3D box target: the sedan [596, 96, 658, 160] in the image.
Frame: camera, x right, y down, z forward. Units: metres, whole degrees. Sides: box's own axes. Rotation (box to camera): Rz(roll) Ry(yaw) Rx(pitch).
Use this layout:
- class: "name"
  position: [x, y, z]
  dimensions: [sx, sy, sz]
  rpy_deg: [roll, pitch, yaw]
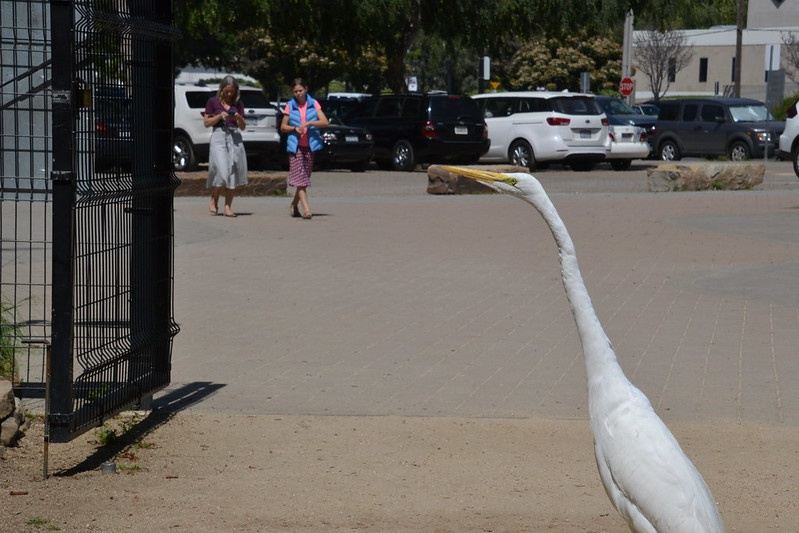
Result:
- class: "sedan"
  position: [5.875, -3.523, 31.093]
  dimensions: [1.405, 1.293, 3.327]
  rpy_deg: [0, 11, 1]

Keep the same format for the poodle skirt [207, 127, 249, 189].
- class: "poodle skirt"
  position: [-2.526, -1.617, 17.895]
  dimensions: [0.571, 0.995, 0.455]
  rpy_deg: [-4, 13, -18]

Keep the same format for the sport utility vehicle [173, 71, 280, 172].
- class: "sport utility vehicle"
  position: [-3.668, -2.672, 25.546]
  dimensions: [2.094, 1.840, 3.800]
  rpy_deg: [-3, 16, -22]

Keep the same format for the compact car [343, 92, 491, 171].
- class: "compact car"
  position: [0.331, -3.311, 29.560]
  dimensions: [1.664, 1.351, 3.401]
  rpy_deg: [-4, 12, -34]

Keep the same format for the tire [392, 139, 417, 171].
- class: "tire"
  position: [0.156, -2.748, 29.110]
  dimensions: [0.232, 0.723, 0.643]
  rpy_deg: [-6, 7, -38]

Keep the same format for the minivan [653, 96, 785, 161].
- class: "minivan"
  position: [8.808, -3.825, 33.432]
  dimensions: [2.998, 1.553, 1.849]
  rpy_deg: [2, 6, 43]

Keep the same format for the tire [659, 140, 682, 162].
- class: "tire"
  position: [7.676, -3.328, 34.255]
  dimensions: [0.295, 0.916, 0.827]
  rpy_deg: [-1, 2, -26]

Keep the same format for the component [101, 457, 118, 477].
- class: "component"
  position: [-2.126, 1.500, 8.913]
  dimensions: [0.108, 0.071, 0.115]
  rpy_deg: [-4, 14, -15]

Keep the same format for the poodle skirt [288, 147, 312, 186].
- class: "poodle skirt"
  position: [-1.468, -1.523, 18.074]
  dimensions: [0.392, 0.580, 0.329]
  rpy_deg: [8, 19, 10]

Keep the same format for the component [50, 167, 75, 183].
- class: "component"
  position: [-2.379, -0.655, 8.604]
  dimensions: [0.162, 0.092, 0.040]
  rpy_deg: [-1, 12, -3]

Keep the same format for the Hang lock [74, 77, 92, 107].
- class: "Hang lock"
  position: [-2.250, -1.262, 8.674]
  dimensions: [0.117, 0.215, 0.081]
  rpy_deg: [-6, 13, -24]

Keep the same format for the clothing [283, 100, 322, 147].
- class: "clothing"
  position: [-1.433, -2.134, 18.051]
  dimensions: [0.538, 0.826, 0.424]
  rpy_deg: [-1, 12, -3]

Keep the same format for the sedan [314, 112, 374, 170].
- class: "sedan"
  position: [-1.270, -2.854, 28.800]
  dimensions: [1.365, 1.493, 3.093]
  rpy_deg: [-1, 13, -1]

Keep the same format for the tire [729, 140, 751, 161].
- class: "tire"
  position: [9.115, -3.152, 32.366]
  dimensions: [0.175, 0.587, 0.528]
  rpy_deg: [-2, 2, -30]

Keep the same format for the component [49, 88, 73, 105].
- class: "component"
  position: [-2.373, -1.212, 8.547]
  dimensions: [0.142, 0.094, 0.042]
  rpy_deg: [2, 12, 8]

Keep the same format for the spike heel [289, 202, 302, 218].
- class: "spike heel"
  position: [-1.590, -0.896, 18.828]
  dimensions: [0.182, 0.210, 0.587]
  rpy_deg: [-1, 14, -5]

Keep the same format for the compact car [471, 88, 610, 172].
- class: "compact car"
  position: [3.356, -3.255, 28.592]
  dimensions: [2.943, 1.846, 1.281]
  rpy_deg: [12, 17, 41]
